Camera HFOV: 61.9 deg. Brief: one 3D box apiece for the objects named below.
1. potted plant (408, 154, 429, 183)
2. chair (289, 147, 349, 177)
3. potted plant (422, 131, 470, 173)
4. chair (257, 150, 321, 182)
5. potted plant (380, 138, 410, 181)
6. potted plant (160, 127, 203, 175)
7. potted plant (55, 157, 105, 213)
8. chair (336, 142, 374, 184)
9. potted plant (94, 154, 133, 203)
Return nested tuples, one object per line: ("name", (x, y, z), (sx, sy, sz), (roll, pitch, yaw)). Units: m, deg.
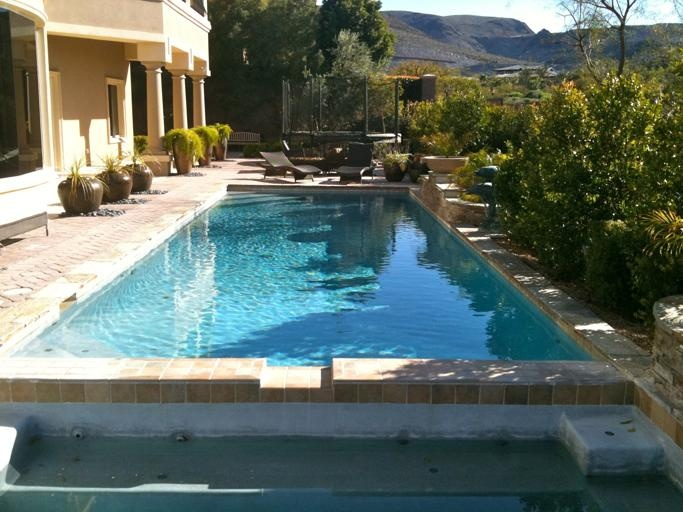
("potted plant", (2.296, -2.725, 17.608), (0.807, 0.957, 0.860), (-1, 7, -3))
("chair", (-0.747, -3.267, 19.677), (1.798, 1.037, 0.937), (1, 10, 20))
("potted plant", (2.562, -2.524, 13.772), (1.133, 0.945, 1.222), (8, 11, 35))
("chair", (-1.696, -2.860, 18.034), (2.080, 0.886, 0.905), (18, 25, 39))
("potted plant", (1.729, -2.909, 17.627), (0.740, 0.927, 0.704), (6, 3, 7))
("potted plant", (-5.041, -3.352, 18.090), (1.340, 1.481, 1.380), (7, 12, 3))
("potted plant", (-5.076, -1.181, 11.141), (0.807, 0.812, 0.791), (1, 14, -29))
("chair", (0.469, -2.881, 17.642), (0.947, 1.019, 1.774), (2, 17, 14))
("potted plant", (-4.954, -1.687, 12.437), (0.742, 0.929, 0.738), (5, 18, 13))
